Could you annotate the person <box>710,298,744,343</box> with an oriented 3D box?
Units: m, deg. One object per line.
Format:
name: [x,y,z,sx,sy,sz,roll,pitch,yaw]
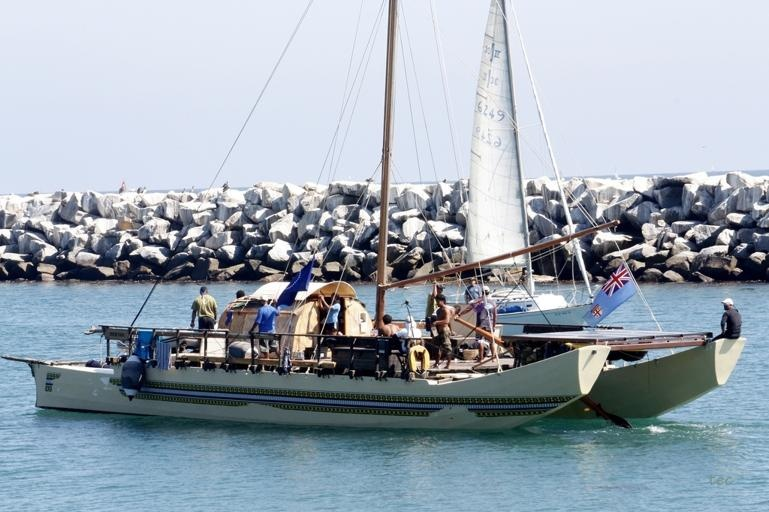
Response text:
person: [14.201,2.560,56.484,0.871,1.686,1.453,-1,-5,16]

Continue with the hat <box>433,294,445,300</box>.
hat: [2.334,1.699,56.997,0.399,0.281,0.588,1,-5,-4]

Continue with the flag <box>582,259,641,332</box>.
flag: [13.129,2.290,78.594,0.231,1.719,4.393,-13,-35,-43]

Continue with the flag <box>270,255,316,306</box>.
flag: [-4.945,1.199,74.281,1.290,0.610,4.296,26,44,20]
